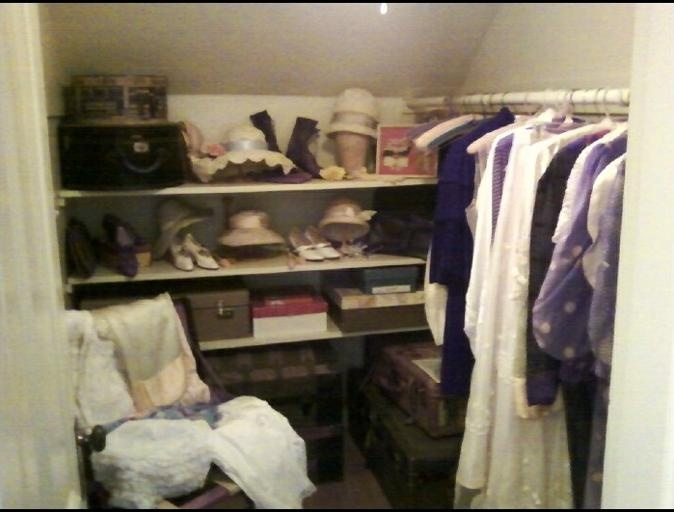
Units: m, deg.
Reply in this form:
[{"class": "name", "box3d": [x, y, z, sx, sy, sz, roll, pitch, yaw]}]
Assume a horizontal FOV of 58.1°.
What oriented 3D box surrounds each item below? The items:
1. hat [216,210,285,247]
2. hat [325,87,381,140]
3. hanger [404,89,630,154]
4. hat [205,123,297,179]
[{"class": "hat", "box3d": [-0.201, -0.065, 1.385, 0.110, 0.047, 0.093, 1, 5, 27]}, {"class": "hat", "box3d": [0.033, -0.326, 1.381, 0.114, 0.070, 0.117, 8, 13, -15]}, {"class": "hanger", "box3d": [0.431, -0.365, 1.486, 0.551, 0.089, 0.157, -6, 16, -4]}, {"class": "hat", "box3d": [-0.207, -0.264, 1.404, 0.205, 0.074, 0.135, 5, 27, -5]}]
